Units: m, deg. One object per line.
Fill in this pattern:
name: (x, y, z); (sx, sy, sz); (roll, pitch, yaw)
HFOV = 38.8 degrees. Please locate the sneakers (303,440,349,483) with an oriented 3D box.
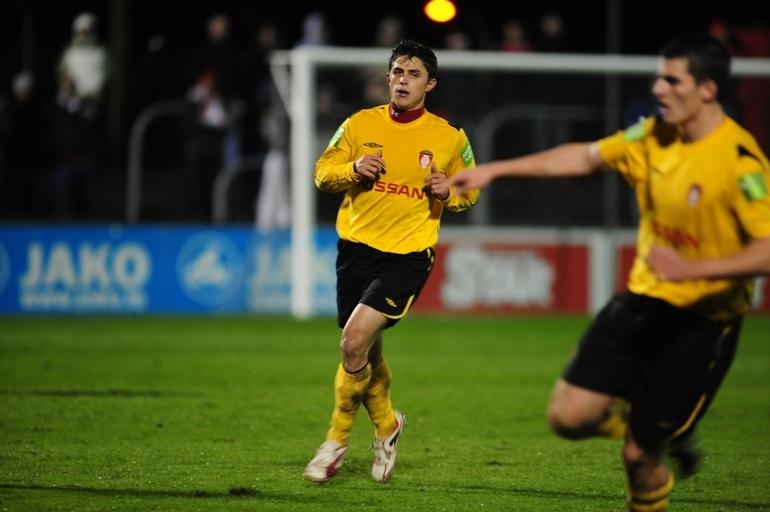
sneakers: (-0.418, 1.463, 7.823); (0.157, 0.251, 0.333); (10, 13, 39)

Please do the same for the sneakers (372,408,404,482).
sneakers: (0.006, 1.386, 7.975); (0.158, 0.484, 0.188); (1, -27, 39)
